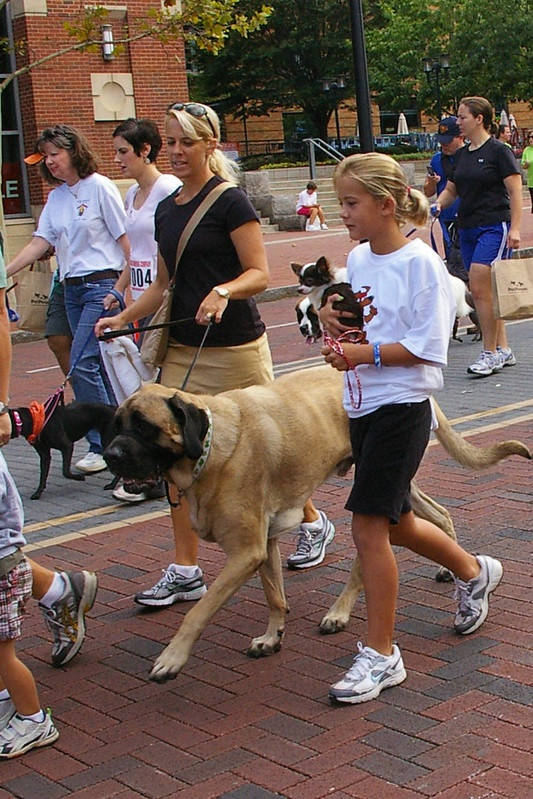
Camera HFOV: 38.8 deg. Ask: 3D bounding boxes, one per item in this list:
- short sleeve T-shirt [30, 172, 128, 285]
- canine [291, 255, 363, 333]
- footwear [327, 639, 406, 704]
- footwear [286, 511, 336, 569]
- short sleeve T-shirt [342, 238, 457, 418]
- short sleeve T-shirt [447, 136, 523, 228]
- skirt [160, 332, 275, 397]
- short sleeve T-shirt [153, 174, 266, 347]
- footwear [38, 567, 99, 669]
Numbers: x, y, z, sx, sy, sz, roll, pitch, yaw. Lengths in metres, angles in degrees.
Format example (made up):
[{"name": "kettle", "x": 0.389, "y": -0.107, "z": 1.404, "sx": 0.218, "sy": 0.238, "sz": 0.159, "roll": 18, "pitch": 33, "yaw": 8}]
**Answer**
[{"name": "short sleeve T-shirt", "x": -1.560, "y": -1.511, "z": 6.522, "sx": 0.987, "sy": 0.819, "sz": 0.517, "roll": 3, "pitch": 18, "yaw": 22}, {"name": "canine", "x": 0.650, "y": -1.012, "z": 7.279, "sx": 0.415, "sy": 0.654, "sz": 1.036, "roll": 4, "pitch": 16, "yaw": 37}, {"name": "footwear", "x": 0.358, "y": 0.968, "z": 2.744, "sx": 0.125, "sy": 0.160, "sz": 0.352, "roll": -6, "pitch": 5, "yaw": 44}, {"name": "footwear", "x": 0.272, "y": 0.771, "z": 4.290, "sx": 0.165, "sy": 0.193, "sz": 0.400, "roll": -4, "pitch": 40, "yaw": 38}, {"name": "short sleeve T-shirt", "x": 0.437, "y": -0.254, "z": 2.672, "sx": 0.443, "sy": 0.627, "sz": 0.334, "roll": -5, "pitch": 9, "yaw": 29}, {"name": "short sleeve T-shirt", "x": 2.430, "y": -2.441, "z": 8.423, "sx": 0.601, "sy": 1.005, "sz": 1.071, "roll": -16, "pitch": 21, "yaw": -25}, {"name": "skirt", "x": -0.240, "y": -0.258, "z": 3.745, "sx": 0.608, "sy": 0.334, "sz": 0.319, "roll": 1, "pitch": 1, "yaw": 3}, {"name": "short sleeve T-shirt", "x": -0.274, "y": -0.658, "z": 3.680, "sx": 0.600, "sy": 0.813, "sz": 0.345, "roll": -7, "pitch": 8, "yaw": 14}, {"name": "footwear", "x": -0.839, "y": 0.917, "z": 3.208, "sx": 0.260, "sy": 0.466, "sz": 0.168, "roll": -1, "pitch": 24, "yaw": -21}]
